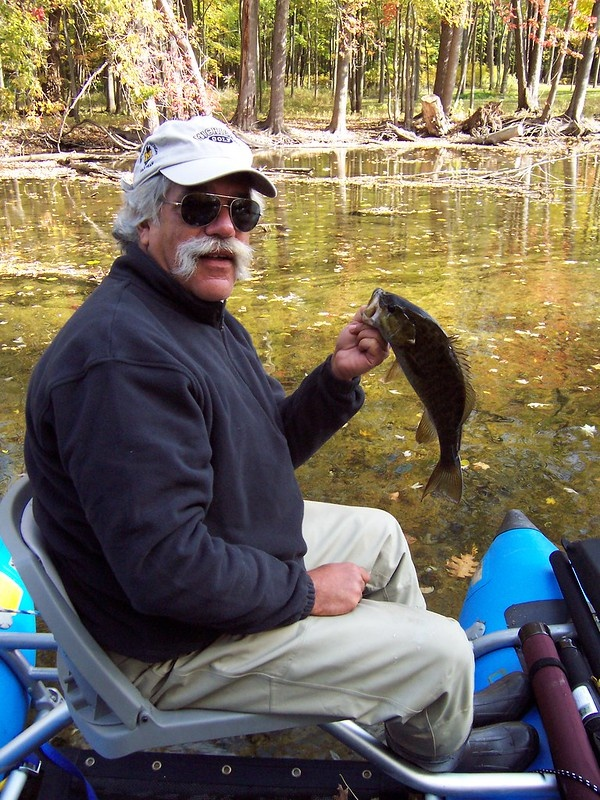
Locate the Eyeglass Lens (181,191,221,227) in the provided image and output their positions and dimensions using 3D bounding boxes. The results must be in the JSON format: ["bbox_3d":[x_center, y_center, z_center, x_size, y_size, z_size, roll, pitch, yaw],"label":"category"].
[{"bbox_3d":[-0.286,-0.547,1.943,0.107,0.044,0.101,-16,40,-32],"label":"Eyeglass Lens"}]

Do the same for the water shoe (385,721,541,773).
[{"bbox_3d":[0.420,0.927,1.799,0.302,0.186,0.094,-12,48,3],"label":"water shoe"}]

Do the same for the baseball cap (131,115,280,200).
[{"bbox_3d":[-0.302,-0.727,2.020,0.339,0.200,0.472,-10,13,-42],"label":"baseball cap"}]
